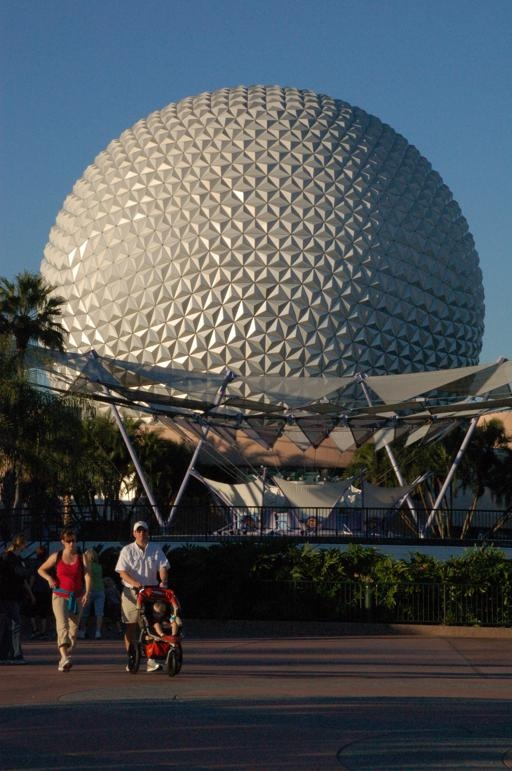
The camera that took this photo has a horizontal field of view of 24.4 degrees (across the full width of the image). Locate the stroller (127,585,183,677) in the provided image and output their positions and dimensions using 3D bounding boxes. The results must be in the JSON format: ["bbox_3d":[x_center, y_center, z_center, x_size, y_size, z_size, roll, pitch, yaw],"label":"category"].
[{"bbox_3d":[-0.756,2.019,9.707,0.377,0.682,0.674,5,-8,-24],"label":"stroller"}]

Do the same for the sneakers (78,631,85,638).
[{"bbox_3d":[-1.948,2.805,13.341,0.046,0.086,0.122,2,0,-13],"label":"sneakers"}]

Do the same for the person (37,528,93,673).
[{"bbox_3d":[-1.634,1.838,10.159,0.433,1.199,0.599,3,-10,-8],"label":"person"}]

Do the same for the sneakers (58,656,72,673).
[{"bbox_3d":[-1.582,2.332,9.896,0.080,0.093,0.189,0,-38,-14],"label":"sneakers"}]
